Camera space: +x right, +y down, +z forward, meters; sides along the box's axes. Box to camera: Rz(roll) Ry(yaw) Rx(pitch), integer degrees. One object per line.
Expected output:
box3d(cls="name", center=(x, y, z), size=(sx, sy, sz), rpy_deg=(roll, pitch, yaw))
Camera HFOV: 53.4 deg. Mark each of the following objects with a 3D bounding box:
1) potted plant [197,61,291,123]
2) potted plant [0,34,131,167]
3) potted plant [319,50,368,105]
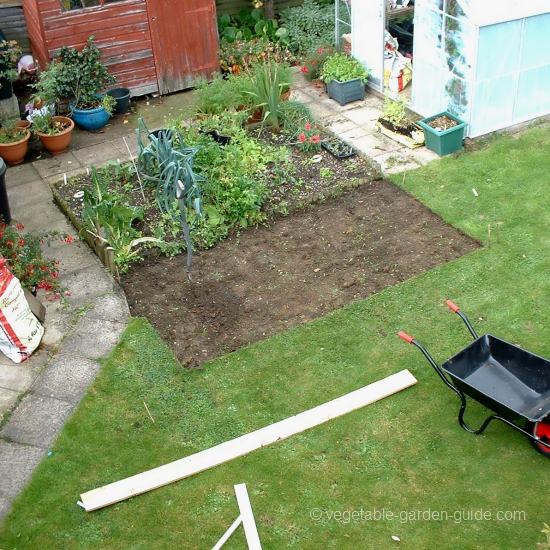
box3d(cls="potted plant", center=(-0.440, -2.853, 8.459), size=(1.186, 0.730, 1.133), rpy_deg=(-17, 27, -21))
box3d(cls="potted plant", center=(-3.214, -3.043, 8.891), size=(1.272, 1.336, 0.811), rpy_deg=(-22, 38, -19))
box3d(cls="potted plant", center=(1.185, -3.269, 9.193), size=(0.539, 0.667, 0.631), rpy_deg=(-29, 40, -26))
